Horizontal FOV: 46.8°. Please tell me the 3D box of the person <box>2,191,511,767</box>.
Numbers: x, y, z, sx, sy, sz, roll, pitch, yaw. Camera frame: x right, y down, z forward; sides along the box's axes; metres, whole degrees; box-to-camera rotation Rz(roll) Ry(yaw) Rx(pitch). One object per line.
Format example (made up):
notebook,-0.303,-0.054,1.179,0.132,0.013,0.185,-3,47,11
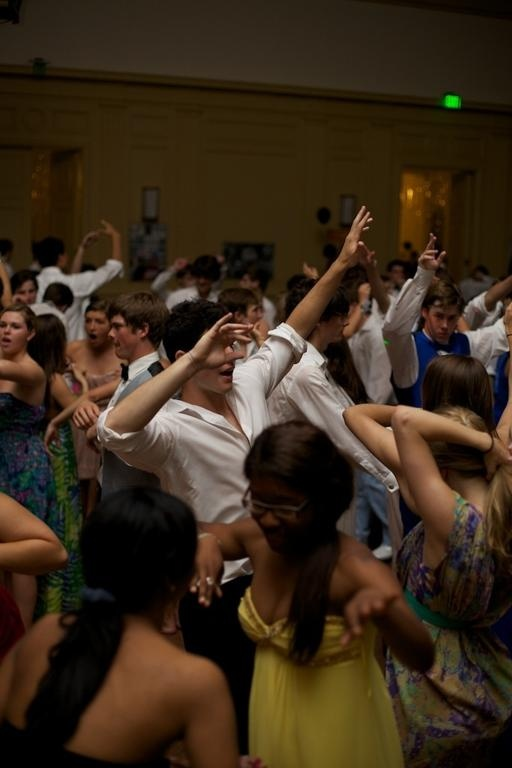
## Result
person,-0.075,0.251,1.879,0.553,1.461,0.942,4,7,17
